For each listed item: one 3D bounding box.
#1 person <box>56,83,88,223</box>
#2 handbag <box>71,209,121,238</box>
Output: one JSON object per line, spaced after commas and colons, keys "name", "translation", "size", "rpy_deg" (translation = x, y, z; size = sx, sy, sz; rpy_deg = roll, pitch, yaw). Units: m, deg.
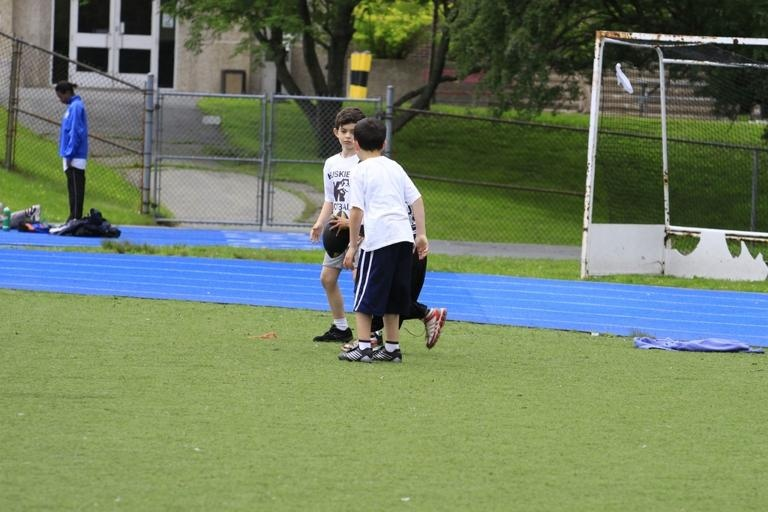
{"name": "person", "translation": [-6.044, -2.004, 31.407], "size": [0.604, 2.659, 1.270], "rpy_deg": [4, 6, -9]}
{"name": "handbag", "translation": [-5.483, -0.609, 30.931], "size": [0.731, 0.322, 0.568], "rpy_deg": [-2, 0, -25]}
